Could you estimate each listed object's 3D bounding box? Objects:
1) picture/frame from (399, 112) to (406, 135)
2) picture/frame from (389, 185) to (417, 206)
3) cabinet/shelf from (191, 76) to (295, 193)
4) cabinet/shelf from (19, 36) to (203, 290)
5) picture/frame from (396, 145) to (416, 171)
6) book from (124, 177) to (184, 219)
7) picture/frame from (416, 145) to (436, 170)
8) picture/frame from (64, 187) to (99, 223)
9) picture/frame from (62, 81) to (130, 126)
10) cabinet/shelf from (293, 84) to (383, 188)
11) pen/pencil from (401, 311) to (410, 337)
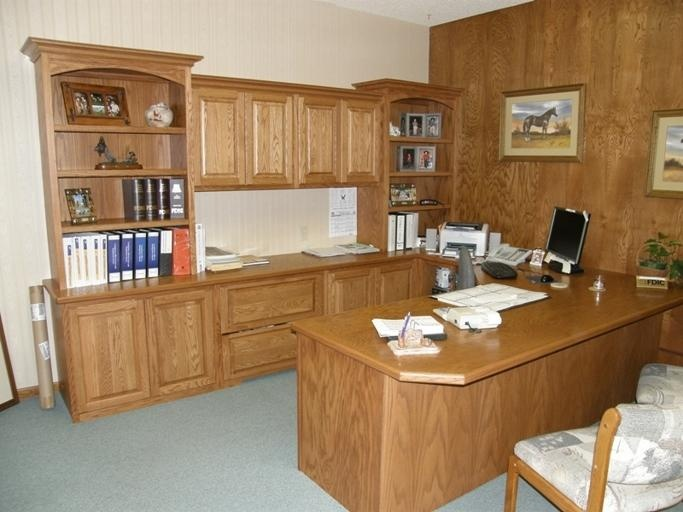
[{"bbox_3d":[0.654,-1.390,5.240,0.063,0.238,0.090,-2,12,7],"label":"picture/frame"},{"bbox_3d":[0.654,-0.651,5.271,0.180,0.230,0.374,6,14,39],"label":"picture/frame"},{"bbox_3d":[-0.856,-1.032,4.164,1.041,0.905,0.369,-7,14,-33],"label":"cabinet/shelf"},{"bbox_3d":[-1.751,-0.713,3.901,1.183,1.745,0.573,-10,14,-30],"label":"cabinet/shelf"},{"bbox_3d":[0.697,-1.038,5.280,0.298,0.363,0.048,-2,11,-20],"label":"picture/frame"},{"bbox_3d":[-1.560,-0.394,4.096,0.356,0.415,0.471,-2,2,-36],"label":"book"},{"bbox_3d":[0.910,-1.054,5.350,0.288,0.284,0.024,-2,9,-24],"label":"picture/frame"},{"bbox_3d":[-2.039,-0.394,3.858,0.184,0.269,0.264,-9,13,-27],"label":"picture/frame"},{"bbox_3d":[-1.898,-1.151,3.776,0.515,0.336,0.065,-3,-19,-31],"label":"picture/frame"},{"bbox_3d":[-0.058,-1.129,4.647,1.109,0.900,0.397,-3,5,-41],"label":"cabinet/shelf"},{"bbox_3d":[0.363,0.390,2.801,0.018,0.118,0.021,18,-10,46],"label":"pen/pencil"}]
